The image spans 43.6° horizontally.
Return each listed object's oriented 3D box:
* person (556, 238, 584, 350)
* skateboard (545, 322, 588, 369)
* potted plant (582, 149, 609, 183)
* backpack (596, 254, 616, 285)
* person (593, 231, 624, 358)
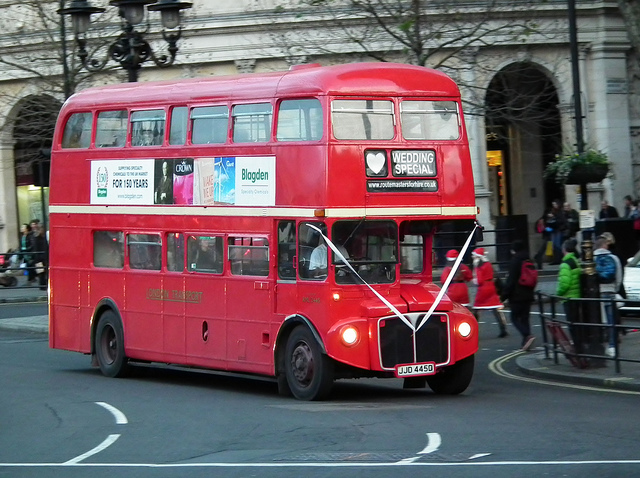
[{"bbox_3d":[4.681,1.073,15.238,0.634,1.972,0.822,-5,-4,39],"label":"person"},{"bbox_3d":[4.477,1.918,14.622,0.301,0.270,1.034,-22,22,4],"label":"skateboard"},{"bbox_3d":[6.056,-1.608,17.314,0.823,0.675,0.757,-1,-4,1],"label":"potted plant"},{"bbox_3d":[5.884,0.614,16.492,0.427,0.488,0.288,8,4,17],"label":"backpack"},{"bbox_3d":[5.834,1.081,16.598,0.997,2.163,0.817,-2,0,8],"label":"person"}]
